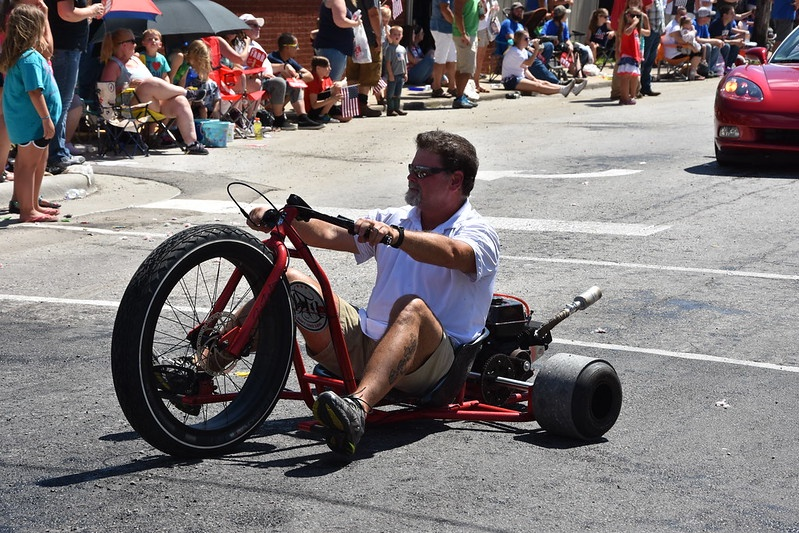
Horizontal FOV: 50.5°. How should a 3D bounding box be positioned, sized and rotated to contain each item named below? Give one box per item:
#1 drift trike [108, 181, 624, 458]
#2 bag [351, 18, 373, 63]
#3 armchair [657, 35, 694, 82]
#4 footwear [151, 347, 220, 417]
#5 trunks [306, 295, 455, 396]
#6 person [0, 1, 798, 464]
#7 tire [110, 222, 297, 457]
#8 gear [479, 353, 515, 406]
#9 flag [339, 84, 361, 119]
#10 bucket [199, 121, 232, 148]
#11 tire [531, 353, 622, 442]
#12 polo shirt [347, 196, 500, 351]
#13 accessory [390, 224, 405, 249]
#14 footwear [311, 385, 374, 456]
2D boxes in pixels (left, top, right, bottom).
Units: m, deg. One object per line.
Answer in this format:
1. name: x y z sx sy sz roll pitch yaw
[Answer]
1. drift trike: -0.163 0.325 4.946 2.879 1.248 1.976 0 5 -35
2. bag: -0.779 -4.582 16.873 0.532 0.901 0.379 -18 47 -23
3. armchair: 8.361 -6.417 25.877 1.243 1.427 1.168 0 13 0
4. footwear: -1.139 0.602 4.437 0.370 0.166 0.259 23 21 -7
5. trunks: -0.083 0.501 4.780 0.640 0.282 0.619 21 19 32
6. person: -0.092 0.083 4.691 2.680 1.199 1.752 3 1 -34
7. tire: -1.051 0.445 4.636 1.330 1.470 0.287 -3 15 -39
8. gear: 0.556 0.667 5.056 0.304 0.298 0.074 -5 -6 -31
9. flag: -1.038 -3.338 17.084 0.676 0.784 0.063 -17 39 -28
10. bucket: -3.091 -2.214 14.257 0.491 0.321 0.474 0 8 0
11. tire: 1.035 0.763 4.924 0.484 0.454 0.391 -9 7 -36
12. polo shirt: 0.141 0.065 4.872 0.983 0.793 0.554 5 -10 37
13. accessory: -0.024 -0.171 4.459 0.037 0.100 0.086 7 -8 -34
14. footwear: -0.282 0.783 4.395 0.194 0.399 0.246 5 32 37
